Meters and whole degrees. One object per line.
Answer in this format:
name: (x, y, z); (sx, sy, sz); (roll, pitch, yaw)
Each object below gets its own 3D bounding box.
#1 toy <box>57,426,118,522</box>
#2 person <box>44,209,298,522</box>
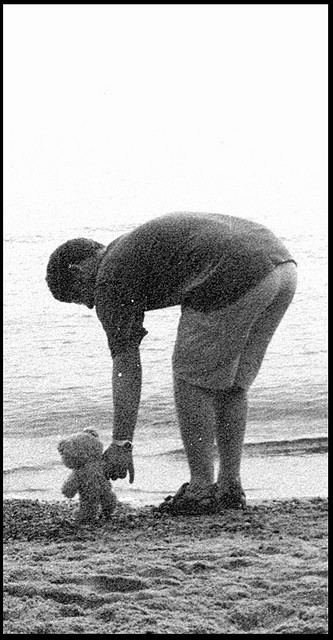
toy: (-0.247, 0.487, 4.023); (0.158, 0.296, 0.137); (-12, 0, -38)
person: (-0.037, 0.046, 4.344); (0.712, 1.058, 0.535); (-4, 22, 2)
